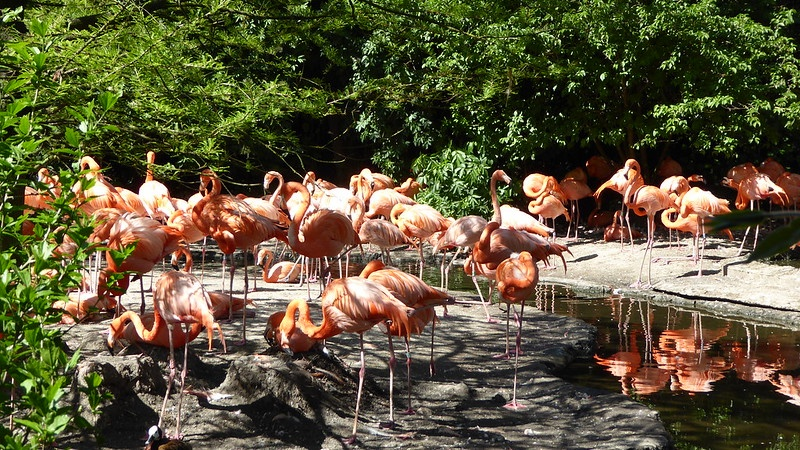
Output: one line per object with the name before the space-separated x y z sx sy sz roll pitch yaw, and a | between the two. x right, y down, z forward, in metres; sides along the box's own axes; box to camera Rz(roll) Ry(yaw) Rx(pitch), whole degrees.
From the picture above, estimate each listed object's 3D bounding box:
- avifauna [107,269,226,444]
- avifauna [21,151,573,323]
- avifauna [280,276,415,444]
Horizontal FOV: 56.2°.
avifauna | -2.304 1.199 7.427 0.686 1.490 1.230 -2 5 -30
avifauna | -2.014 -0.058 8.670 4.643 1.726 1.349 1 0 -6
avifauna | -0.511 1.261 7.498 0.681 1.506 1.347 -3 6 -42
